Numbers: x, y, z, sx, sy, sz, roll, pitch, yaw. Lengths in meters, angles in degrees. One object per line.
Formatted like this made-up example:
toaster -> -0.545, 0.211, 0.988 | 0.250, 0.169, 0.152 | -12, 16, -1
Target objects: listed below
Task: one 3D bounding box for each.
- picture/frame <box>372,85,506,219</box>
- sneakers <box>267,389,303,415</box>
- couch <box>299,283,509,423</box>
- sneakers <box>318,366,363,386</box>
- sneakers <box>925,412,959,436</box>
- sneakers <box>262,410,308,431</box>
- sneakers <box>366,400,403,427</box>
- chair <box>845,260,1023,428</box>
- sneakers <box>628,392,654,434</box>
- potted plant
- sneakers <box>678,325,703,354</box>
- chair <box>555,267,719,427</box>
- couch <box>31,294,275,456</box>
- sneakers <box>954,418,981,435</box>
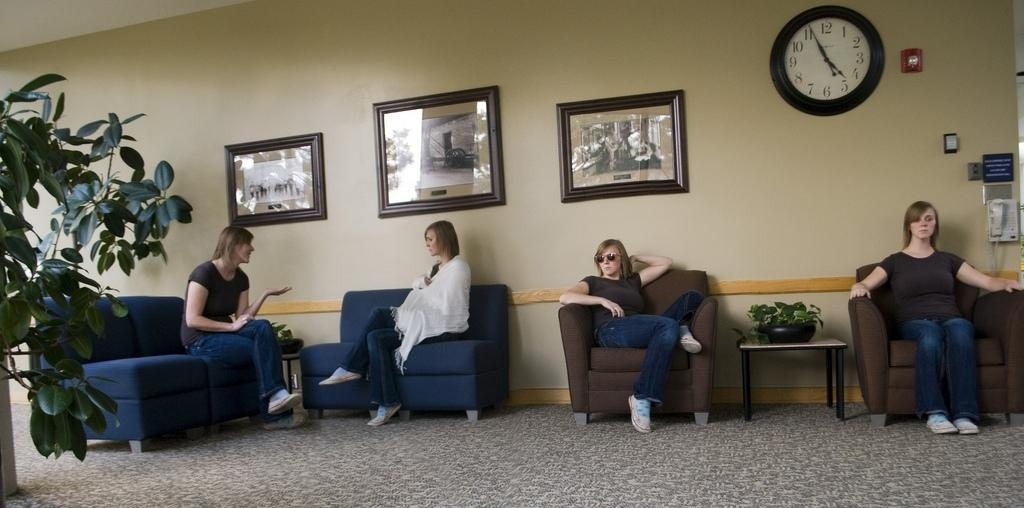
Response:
picture/frame -> -0.720, -1.074, 7.487 | 1.642, 1.278, 0.105 | -4, -4, 9
sneakers -> -2.190, 1.436, 6.752 | 0.416, 0.209, 0.191 | -19, -21, 21
couch -> -1.088, 1.004, 7.293 | 1.992, 1.128, 1.035 | -4, 4, 18
sneakers -> -1.660, 1.222, 6.938 | 0.516, 0.182, 0.155 | -2, -3, -5
sneakers -> 3.724, 1.470, 6.009 | 0.137, 0.090, 0.242 | 0, -6, 1
sneakers -> -2.301, 1.665, 6.940 | 0.492, 0.162, 0.156 | -6, -1, 14
sneakers -> -1.241, 1.558, 6.864 | 0.153, 0.152, 0.406 | 3, 29, 42
chair -> 3.856, 0.917, 6.379 | 1.432, 1.195, 0.611 | -2, 2, 14
sneakers -> 1.172, 1.450, 6.369 | 0.209, 0.323, 0.175 | -2, 2, 7
potted plant -> 2.606, 0.657, 6.671 | 0.651, 0.262, 0.631 | -13, 0, 33
sneakers -> 1.634, 0.789, 6.396 | 0.165, 0.259, 0.134 | -2, 2, 31
chair -> 1.316, 0.907, 7.114 | 1.904, 1.371, 1.699 | -3, -1, -1
couch -> -3.486, 1.110, 6.900 | 1.181, 1.209, 1.943 | 3, -3, 8
sneakers -> 3.943, 1.488, 6.042 | 0.254, 0.132, 0.138 | -2, 1, -9
